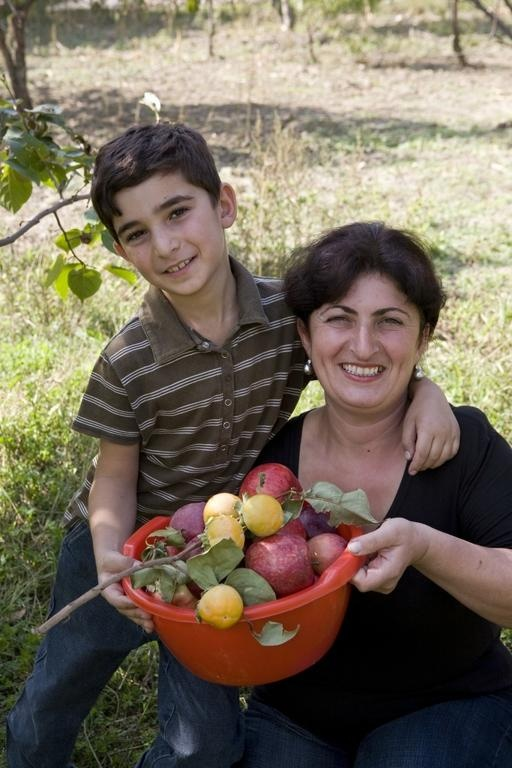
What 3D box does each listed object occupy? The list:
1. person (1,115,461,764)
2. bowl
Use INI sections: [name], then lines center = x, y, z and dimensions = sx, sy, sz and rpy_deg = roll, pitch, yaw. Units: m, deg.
[person]
center = -0.020, 0.304, 2.032
dimensions = 1.068, 1.922, 0.894
rpy_deg = 5, 21, 19
[bowl]
center = 0.001, 0.374, 1.334
dimensions = 0.368, 0.168, 0.322
rpy_deg = -7, 15, 2
